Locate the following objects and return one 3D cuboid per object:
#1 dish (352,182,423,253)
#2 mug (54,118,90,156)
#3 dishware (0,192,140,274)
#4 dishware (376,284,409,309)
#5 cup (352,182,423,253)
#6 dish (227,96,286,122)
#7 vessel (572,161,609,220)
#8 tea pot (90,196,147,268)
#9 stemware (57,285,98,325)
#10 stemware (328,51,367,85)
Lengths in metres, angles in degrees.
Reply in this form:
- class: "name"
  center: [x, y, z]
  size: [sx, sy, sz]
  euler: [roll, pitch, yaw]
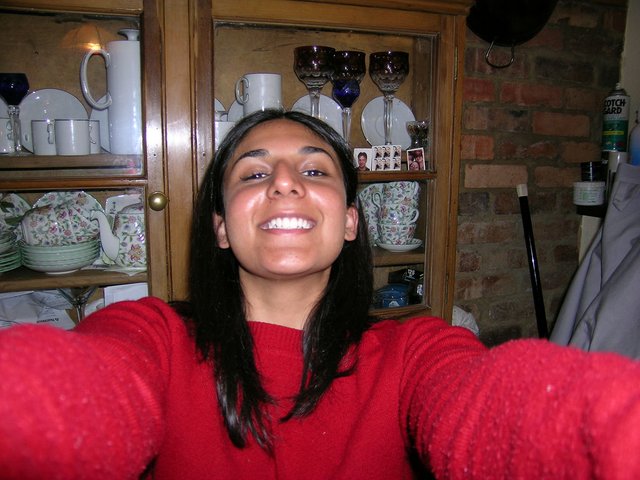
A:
- class: "dish"
  center: [0.256, -0.091, 1.765]
  size: [0.264, 0.268, 0.177]
  euler: [-1, 3, 24]
- class: "mug"
  center: [-0.723, -0.308, 1.417]
  size: [0.128, 0.115, 0.079]
  euler: [-6, 7, -44]
- class: "dishware"
  center: [-0.735, -0.019, 1.430]
  size: [0.362, 0.250, 0.179]
  euler: [-3, 3, -11]
- class: "dishware"
  center: [0.260, 0.198, 1.650]
  size: [0.084, 0.053, 0.087]
  euler: [0, -1, -5]
- class: "cup"
  center: [0.257, -0.083, 1.634]
  size: [0.264, 0.268, 0.177]
  euler: [-1, 3, 24]
- class: "dish"
  center: [-0.229, -0.422, 1.546]
  size: [0.127, 0.035, 0.121]
  euler: [-22, 5, -41]
- class: "vessel"
  center: [1.094, -0.225, 1.889]
  size: [0.104, 0.172, 0.102]
  euler: [1, 11, 12]
- class: "tea pot"
  center: [-0.638, -0.020, 1.465]
  size: [0.125, 0.230, 0.220]
  euler: [1, 0, 22]
- class: "stemware"
  center: [-0.784, 0.223, 1.510]
  size: [0.122, 0.157, 0.129]
  euler: [3, -3, -23]
- class: "stemware"
  center: [0.093, -0.578, 1.579]
  size: [0.106, 0.086, 0.093]
  euler: [-3, 7, -36]
